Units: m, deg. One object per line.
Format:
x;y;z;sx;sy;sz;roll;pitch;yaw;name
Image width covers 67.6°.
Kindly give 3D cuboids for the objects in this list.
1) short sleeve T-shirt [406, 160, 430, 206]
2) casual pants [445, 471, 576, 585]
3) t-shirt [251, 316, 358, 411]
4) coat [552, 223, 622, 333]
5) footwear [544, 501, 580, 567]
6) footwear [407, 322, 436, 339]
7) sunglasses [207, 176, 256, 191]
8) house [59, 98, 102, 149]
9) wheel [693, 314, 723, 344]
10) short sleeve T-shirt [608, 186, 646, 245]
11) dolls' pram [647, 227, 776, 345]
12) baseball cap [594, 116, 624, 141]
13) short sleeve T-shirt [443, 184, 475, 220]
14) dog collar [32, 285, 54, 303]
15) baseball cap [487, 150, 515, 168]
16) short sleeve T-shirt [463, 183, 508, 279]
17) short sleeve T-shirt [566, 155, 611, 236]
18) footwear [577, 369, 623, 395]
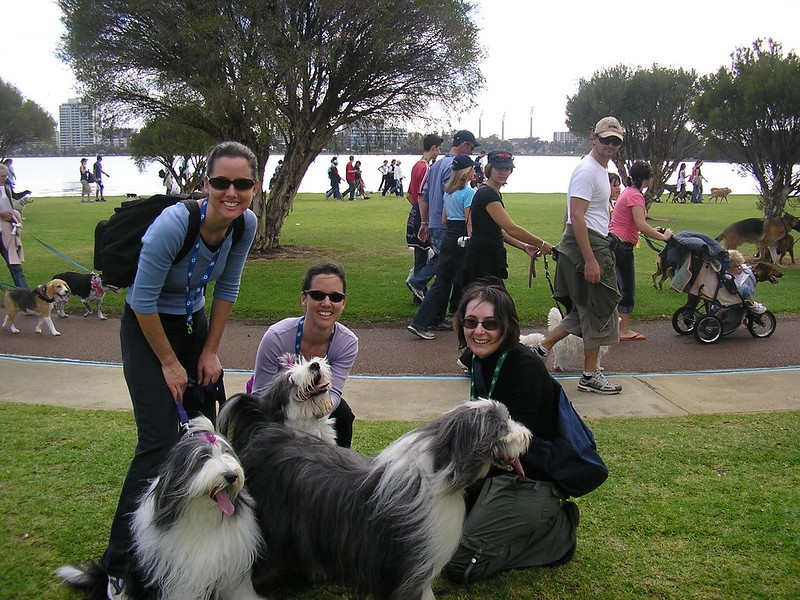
0.322;-2.354;11.726;0.303;0.831;0.781;5;16;-22;short sleeve T-shirt
0.709;1.504;4.029;0.771;0.428;0.598;-14;4;-17;casual pants
-0.698;0.494;4.506;0.740;0.787;0.392;13;13;-26;t-shirt
2.181;-0.309;7.084;0.674;1.377;0.993;-2;19;6;coat
1.172;1.593;4.110;0.189;0.375;0.282;12;-39;-32;footwear
0.321;0.479;9.052;0.444;0.217;0.185;15;24;-6;footwear
-1.088;-0.754;3.870;0.280;0.089;0.083;-2;9;-20;sunglasses
-24.769;-13.455;46.453;2.534;3.816;1.919;-3;2;-12;house
4.578;0.421;8.878;0.301;0.312;0.115;30;0;-10;wheel
3.415;-1.297;9.080;0.414;0.787;0.676;11;-2;-6;short sleeve T-shirt
4.975;-0.238;9.294;1.748;1.581;1.025;-1;9;2;dolls' pram
2.361;-1.984;6.754;0.270;0.216;0.403;10;10;1;baseball cap
0.853;-1.415;8.580;0.292;0.513;0.512;-14;24;-41;short sleeve T-shirt
-5.692;-0.108;9.509;0.137;0.231;0.337;33;7;-40;dog collar
1.299;-1.818;7.694;0.324;0.249;0.280;2;9;7;baseball cap
1.093;-0.841;7.748;0.584;1.330;0.583;3;9;13;short sleeve T-shirt
2.221;-1.222;6.924;0.397;0.871;0.750;5;16;33;short sleeve T-shirt
2.256;0.925;6.851;0.535;0.300;0.206;2;5;10;footwear
